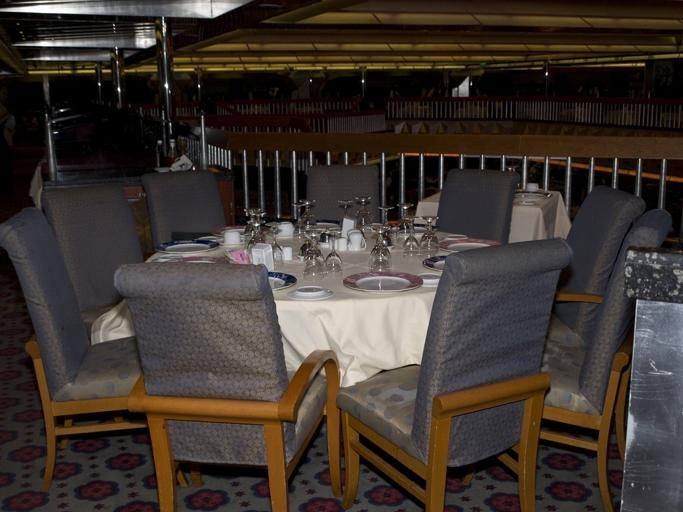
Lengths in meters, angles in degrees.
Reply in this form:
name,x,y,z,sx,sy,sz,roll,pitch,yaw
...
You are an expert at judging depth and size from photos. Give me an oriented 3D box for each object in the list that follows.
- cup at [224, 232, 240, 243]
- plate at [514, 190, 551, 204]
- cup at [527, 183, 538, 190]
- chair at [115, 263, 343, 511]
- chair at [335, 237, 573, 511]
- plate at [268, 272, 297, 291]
name,x,y,z,sx,sy,sz,roll,pitch,yaw
cup,-0.625,-0.117,3.044,0.073,0.061,0.068,-1,22,0
plate,1.605,-0.493,4.509,0.301,0.040,0.202,-6,16,-27
cup,1.758,-0.630,4.898,0.077,0.047,0.094,2,19,5
chair,-0.336,0.576,1.927,0.775,1.216,0.468,-7,19,-18
chair,0.401,0.518,2.100,0.620,1.241,0.602,-13,21,-32
plate,-0.268,0.113,2.369,0.099,0.013,0.090,2,20,0
